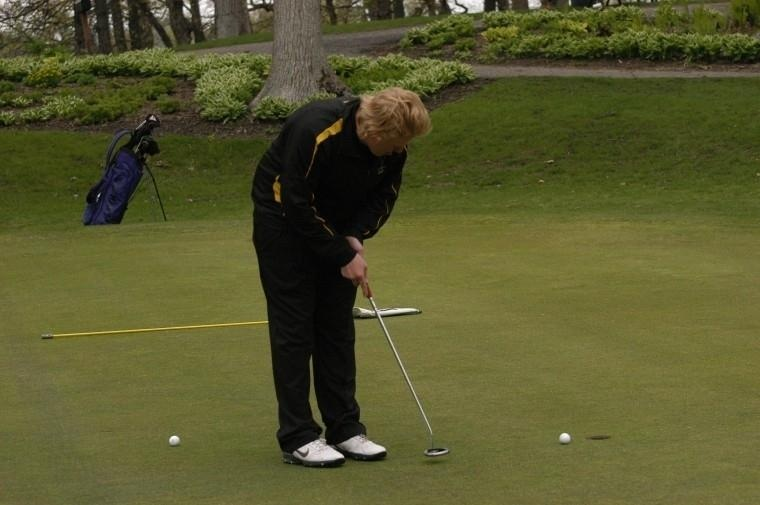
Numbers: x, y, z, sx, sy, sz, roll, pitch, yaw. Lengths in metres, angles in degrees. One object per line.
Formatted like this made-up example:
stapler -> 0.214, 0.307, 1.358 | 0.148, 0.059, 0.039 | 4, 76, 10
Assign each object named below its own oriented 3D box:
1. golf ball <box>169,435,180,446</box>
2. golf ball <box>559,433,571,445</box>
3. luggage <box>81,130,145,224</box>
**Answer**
golf ball -> -2.622, 2.415, 20.166 | 0.144, 0.115, 0.134 | 4, -24, 2
golf ball -> 2.380, 2.368, 20.148 | 0.155, 0.125, 0.147 | 0, 14, 0
luggage -> -4.417, -1.137, 26.075 | 1.071, 1.265, 0.448 | -15, 16, -42
